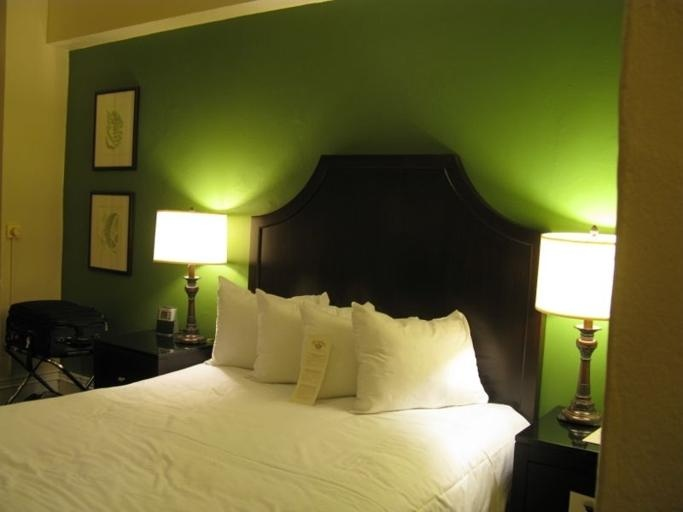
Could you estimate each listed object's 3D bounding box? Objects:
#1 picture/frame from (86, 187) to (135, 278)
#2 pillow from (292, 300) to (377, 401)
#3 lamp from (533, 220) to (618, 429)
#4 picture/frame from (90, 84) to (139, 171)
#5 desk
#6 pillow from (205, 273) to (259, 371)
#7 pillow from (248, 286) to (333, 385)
[{"bbox_3d":[-1.682,-0.177,4.009,0.573,0.696,0.045,5,3,35],"label":"picture/frame"},{"bbox_3d":[-0.030,0.433,2.383,0.335,0.378,0.135,5,-18,-19],"label":"pillow"},{"bbox_3d":[0.928,0.273,2.223,0.288,0.795,0.348,4,6,26],"label":"lamp"},{"bbox_3d":[-1.640,-0.942,3.980,0.045,0.686,0.589,-3,7,-44],"label":"picture/frame"},{"bbox_3d":[-1.984,0.534,3.749,0.689,0.773,0.761,7,0,-40],"label":"desk"},{"bbox_3d":[-0.567,0.350,2.885,0.148,0.435,0.418,-7,-13,43],"label":"pillow"},{"bbox_3d":[-0.244,0.390,2.542,0.343,0.368,0.138,5,-17,-18],"label":"pillow"}]
